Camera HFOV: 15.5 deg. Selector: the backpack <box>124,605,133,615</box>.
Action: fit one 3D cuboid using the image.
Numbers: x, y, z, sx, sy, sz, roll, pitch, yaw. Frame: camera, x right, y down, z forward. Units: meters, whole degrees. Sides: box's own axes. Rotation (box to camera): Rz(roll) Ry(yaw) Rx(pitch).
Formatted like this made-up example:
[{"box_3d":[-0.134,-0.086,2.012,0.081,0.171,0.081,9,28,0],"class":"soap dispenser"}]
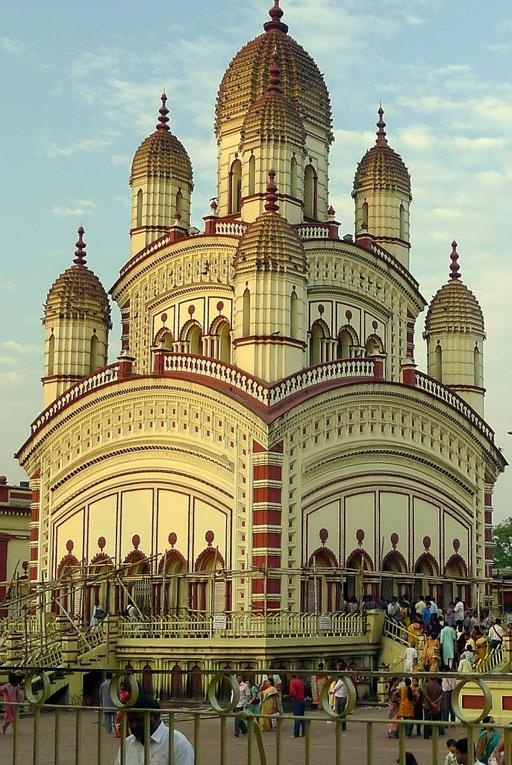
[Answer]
[{"box_3d":[-2.445,4.236,36.069,0.108,0.226,0.164,0,-14,7],"class":"backpack"}]
